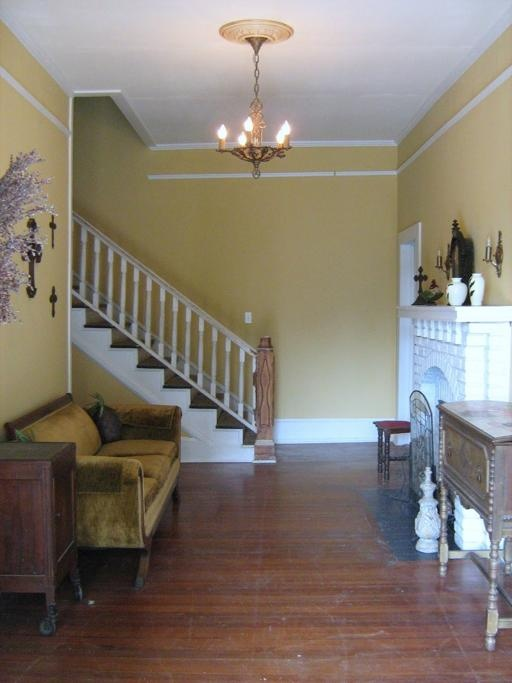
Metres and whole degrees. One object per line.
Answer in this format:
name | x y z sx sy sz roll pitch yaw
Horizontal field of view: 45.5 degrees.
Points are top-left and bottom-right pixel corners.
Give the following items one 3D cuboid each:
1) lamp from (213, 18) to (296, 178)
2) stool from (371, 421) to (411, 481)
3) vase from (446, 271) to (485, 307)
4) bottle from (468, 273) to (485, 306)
lamp | -0.011 -1.367 3.497 0.447 0.791 0.404 9 14 41
stool | 1.157 0.876 5.005 0.331 0.388 0.345 2 0 -18
vase | 1.239 -0.306 3.627 0.213 0.208 0.123 9 19 40
bottle | 1.274 -0.304 3.557 0.087 0.193 0.308 1 3 19
